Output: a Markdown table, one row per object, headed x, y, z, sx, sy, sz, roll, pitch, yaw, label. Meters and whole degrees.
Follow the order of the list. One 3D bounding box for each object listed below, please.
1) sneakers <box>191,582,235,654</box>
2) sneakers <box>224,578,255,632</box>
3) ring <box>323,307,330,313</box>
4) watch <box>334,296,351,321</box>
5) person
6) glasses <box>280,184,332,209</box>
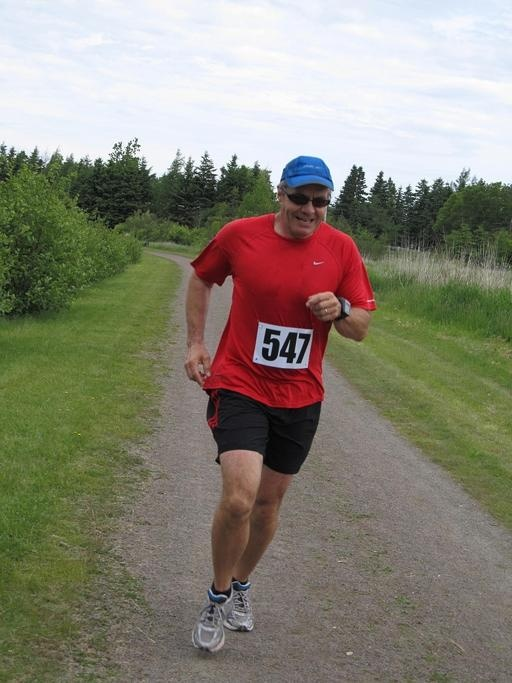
| x | y | z | sx | sy | sz | roll | pitch | yaw | label |
| --- | --- | --- | --- | --- | --- | --- | --- | --- | --- |
| -0.203 | 1.254 | 2.837 | 0.148 | 0.255 | 0.176 | 7 | 11 | -2 | sneakers |
| -0.085 | 1.283 | 3.133 | 0.135 | 0.139 | 0.355 | 7 | 11 | -10 | sneakers |
| 0.301 | -0.136 | 2.718 | 0.025 | 0.027 | 0.018 | -1 | 9 | 7 | ring |
| 0.405 | -0.151 | 2.896 | 0.079 | 0.093 | 0.037 | 4 | -17 | -30 | watch |
| -0.018 | 0.265 | 2.960 | 0.947 | 2.257 | 0.881 | 9 | 11 | 8 | person |
| 0.222 | -0.650 | 2.856 | 0.237 | 0.091 | 0.245 | 6 | 10 | 2 | glasses |
